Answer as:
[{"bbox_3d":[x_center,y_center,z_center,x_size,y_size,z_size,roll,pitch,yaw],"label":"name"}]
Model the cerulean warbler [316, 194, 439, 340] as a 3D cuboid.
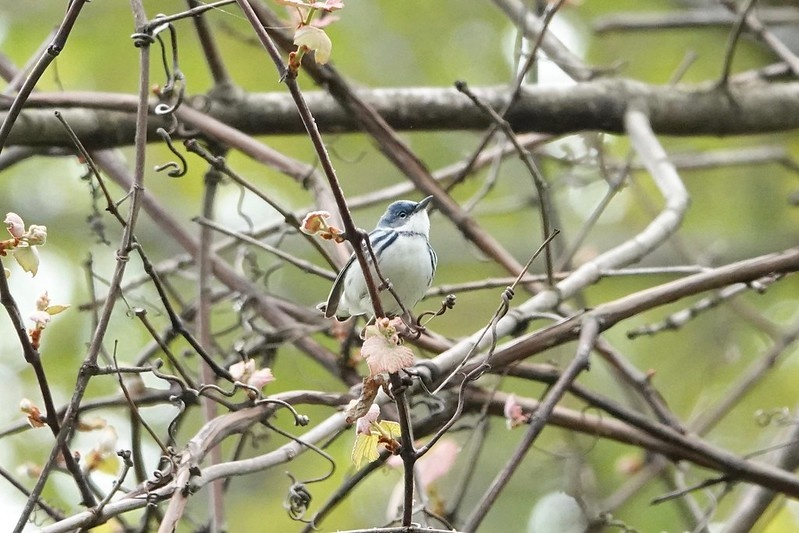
[{"bbox_3d":[-0.092,0.027,5.265,0.428,0.626,0.695,25,-34,-29],"label":"cerulean warbler"}]
